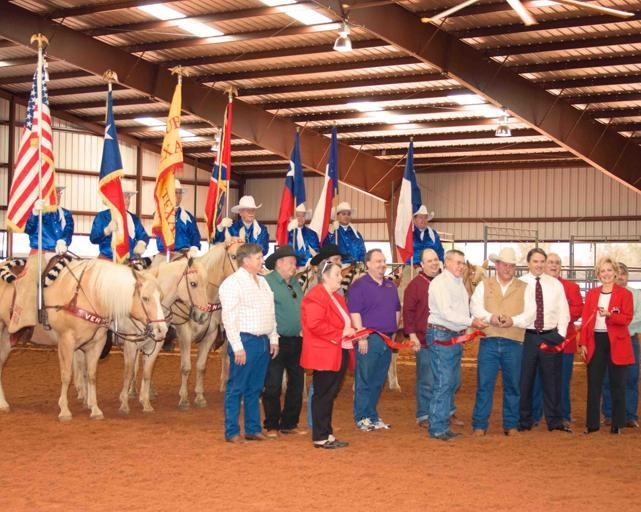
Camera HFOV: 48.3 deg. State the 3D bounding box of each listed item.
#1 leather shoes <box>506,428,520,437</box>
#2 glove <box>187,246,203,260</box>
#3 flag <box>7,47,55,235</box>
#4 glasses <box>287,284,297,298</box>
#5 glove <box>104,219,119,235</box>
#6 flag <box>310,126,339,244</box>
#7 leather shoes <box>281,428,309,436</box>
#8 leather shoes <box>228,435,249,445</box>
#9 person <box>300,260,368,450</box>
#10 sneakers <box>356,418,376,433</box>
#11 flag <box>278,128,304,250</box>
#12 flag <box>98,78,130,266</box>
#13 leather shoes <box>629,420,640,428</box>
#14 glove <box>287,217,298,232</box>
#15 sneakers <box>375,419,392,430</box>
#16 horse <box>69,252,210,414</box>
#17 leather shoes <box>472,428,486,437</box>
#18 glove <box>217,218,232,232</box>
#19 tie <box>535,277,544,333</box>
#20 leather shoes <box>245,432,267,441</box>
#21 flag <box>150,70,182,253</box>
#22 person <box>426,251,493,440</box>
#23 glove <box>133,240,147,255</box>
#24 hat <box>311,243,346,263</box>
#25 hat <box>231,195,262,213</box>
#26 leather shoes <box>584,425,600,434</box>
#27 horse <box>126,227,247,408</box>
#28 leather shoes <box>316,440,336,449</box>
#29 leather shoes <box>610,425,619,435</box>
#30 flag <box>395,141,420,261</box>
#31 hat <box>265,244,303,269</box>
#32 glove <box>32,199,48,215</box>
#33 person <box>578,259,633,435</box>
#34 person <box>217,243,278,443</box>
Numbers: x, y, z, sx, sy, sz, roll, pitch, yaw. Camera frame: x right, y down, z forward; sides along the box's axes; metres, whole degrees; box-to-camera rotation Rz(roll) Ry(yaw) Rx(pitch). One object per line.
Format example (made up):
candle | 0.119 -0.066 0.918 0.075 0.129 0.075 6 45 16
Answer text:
leather shoes | 2.467 2.261 9.170 0.077 0.067 0.154 0 -13 -29
glove | -1.953 -0.053 11.000 0.159 0.246 0.092 -1 -12 0
flag | -4.203 -1.666 10.343 0.638 2.646 0.601 0 1 -24
glasses | -0.358 0.445 8.975 0.037 0.169 0.098 -22 -8 30
glove | -3.177 -0.422 10.802 0.073 0.254 0.174 14 -6 -27
flag | 0.055 -1.280 12.806 0.457 2.145 1.343 0 1 -1
leather shoes | -0.334 2.257 9.220 0.302 0.106 0.125 0 -4 4
leather shoes | -0.989 2.232 8.706 0.278 0.134 0.100 -9 -11 21
person | 0.087 1.173 8.499 0.669 2.214 0.451 0 1 -19
sneakers | 0.584 2.212 9.360 0.143 0.226 0.074 -3 8 -17
flag | -0.491 -1.069 12.439 0.400 2.367 0.354 0 -20 8
flag | -3.287 -1.421 11.381 0.451 3.027 1.368 0 1 -15
leather shoes | 4.328 2.318 9.863 0.064 0.089 0.191 -1 4 15
glove | -0.480 -0.530 12.281 0.070 0.211 0.147 13 8 -17
sneakers | 0.843 2.255 9.601 0.097 0.123 0.247 -1 -5 41
horse | -2.652 1.149 10.803 2.822 2.298 0.738 4 2 41
leather shoes | 2.022 2.250 9.113 0.135 0.155 0.081 -2 -6 10
glove | -1.573 -0.501 11.638 0.134 0.142 0.246 -7 9 2
tie | 2.784 0.607 9.067 0.113 0.665 0.160 0 1 19
leather shoes | -0.806 2.223 8.859 0.262 0.124 0.102 -2 -5 1
flag | -2.545 -1.533 11.813 0.451 2.926 0.770 0 1 -14
person | 1.614 1.113 8.870 0.568 2.363 0.359 0 1 10
glove | -2.779 -0.140 10.958 0.178 0.187 0.190 2 13 2
hat | 0.071 -0.025 8.907 0.272 0.117 0.247 -14 -6 5
hat | -1.311 -0.878 12.158 0.377 0.257 0.629 0 1 -8
leather shoes | 3.590 2.256 9.425 0.124 0.136 0.127 -1 -1 43
horse | -2.143 1.072 11.342 0.774 2.333 3.217 -2 4 -18
leather shoes | 0.061 2.240 8.552 0.249 0.123 0.098 -2 1 0
leather shoes | 3.884 2.283 9.402 0.116 0.133 0.096 -1 -10 10
flag | 1.653 -1.029 13.446 0.460 2.341 0.983 0 1 8
hat | -0.499 0.007 9.866 0.344 0.173 0.430 -2 -6 9
glove | -3.985 -0.689 10.173 0.211 0.227 0.500 0 1 -8
person | 3.758 1.173 9.376 0.674 2.291 0.448 0 1 23
person | -0.902 1.062 8.522 0.673 2.388 0.451 0 1 -41
